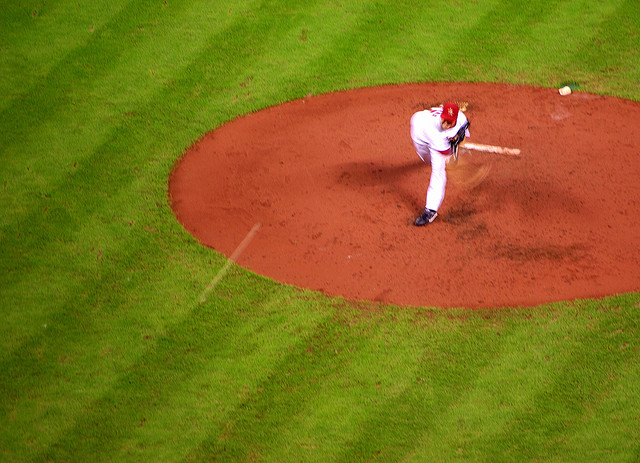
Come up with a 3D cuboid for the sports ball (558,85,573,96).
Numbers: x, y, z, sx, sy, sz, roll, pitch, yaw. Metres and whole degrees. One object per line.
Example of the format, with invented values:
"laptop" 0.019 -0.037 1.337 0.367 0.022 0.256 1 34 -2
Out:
"sports ball" 5.769 -3.296 19.047 0.235 0.229 0.229 -3 46 3
